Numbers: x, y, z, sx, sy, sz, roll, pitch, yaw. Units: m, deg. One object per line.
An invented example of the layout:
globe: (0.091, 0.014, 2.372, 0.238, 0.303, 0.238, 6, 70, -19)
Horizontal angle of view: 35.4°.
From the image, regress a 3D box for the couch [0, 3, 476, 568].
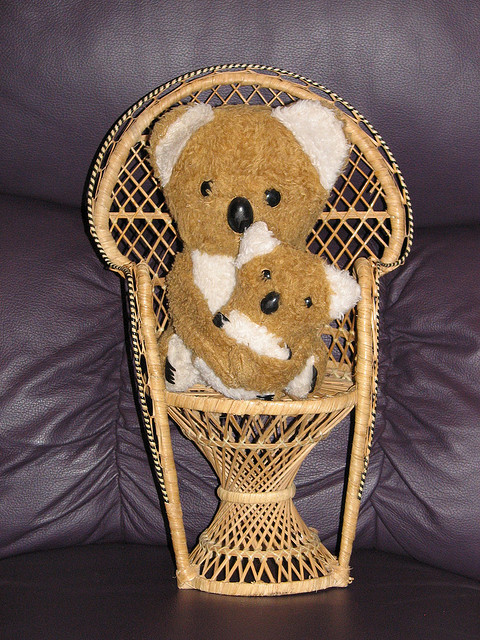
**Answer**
couch: (-0.024, -0.107, 1.473, 0.959, 0.866, 0.374, 1, 11, 2)

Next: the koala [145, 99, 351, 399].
koala: (-0.023, -0.092, 1.048, 0.330, 0.399, 0.252, -5, 24, -8)

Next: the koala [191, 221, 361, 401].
koala: (0.038, -0.008, 0.984, 0.219, 0.211, 0.157, 27, 13, -13)
